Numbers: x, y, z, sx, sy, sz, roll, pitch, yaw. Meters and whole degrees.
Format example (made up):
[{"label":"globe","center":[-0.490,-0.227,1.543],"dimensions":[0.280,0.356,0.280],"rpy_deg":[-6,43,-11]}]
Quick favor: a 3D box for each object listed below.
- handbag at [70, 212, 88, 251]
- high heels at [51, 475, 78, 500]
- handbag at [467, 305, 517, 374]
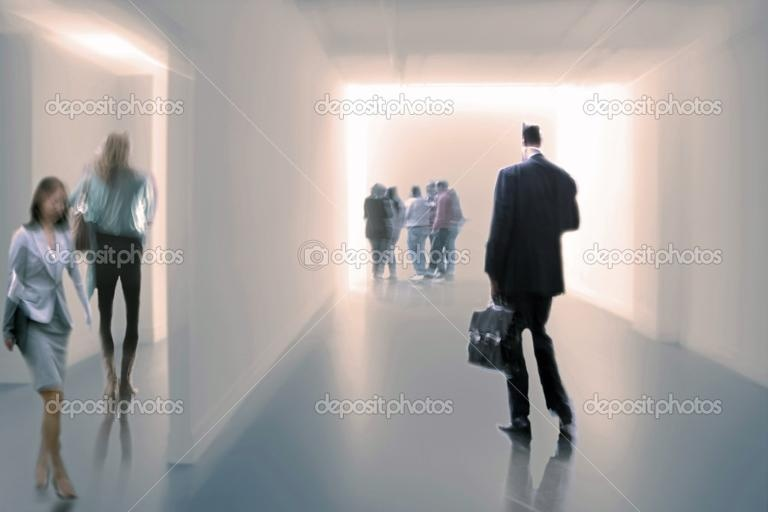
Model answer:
[{"label":"handbag","center":[-1.624,-0.131,3.229],"dimensions":[0.057,0.241,0.070],"rpy_deg":[-9,-17,7]},{"label":"high heels","center":[-1.724,1.257,3.253],"dimensions":[0.138,0.086,0.056],"rpy_deg":[34,-27,5]},{"label":"handbag","center":[0.576,0.454,3.255],"dimensions":[0.283,0.433,0.132],"rpy_deg":[5,8,4]}]
